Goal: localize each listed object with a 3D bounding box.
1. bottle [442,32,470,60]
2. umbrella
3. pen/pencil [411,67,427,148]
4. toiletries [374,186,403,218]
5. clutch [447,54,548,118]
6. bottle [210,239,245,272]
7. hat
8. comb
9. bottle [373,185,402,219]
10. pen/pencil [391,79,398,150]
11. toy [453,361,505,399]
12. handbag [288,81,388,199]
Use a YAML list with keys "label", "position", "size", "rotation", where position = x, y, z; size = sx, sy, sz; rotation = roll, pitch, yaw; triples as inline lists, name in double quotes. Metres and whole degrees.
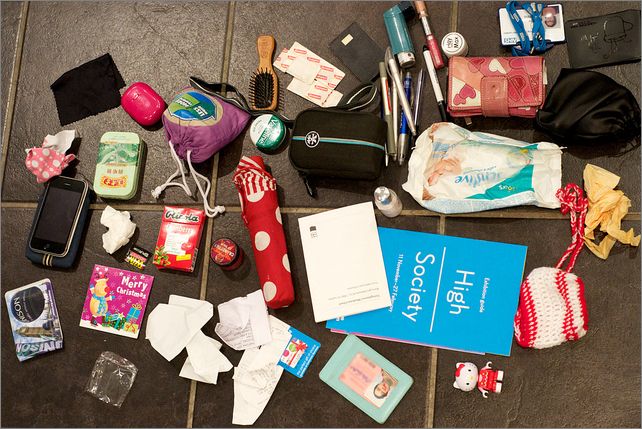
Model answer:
- label: "bottle"
  position: [0.416, -0.529, 1.752]
  size: [0.076, 0.056, 0.075]
  rotation: [2, 99, 14]
- label: "umbrella"
  position: [-0.174, 0.042, 1.754]
  size: [0.123, 0.266, 0.423]
  rotation: [-13, 53, -6]
- label: "pen/pencil"
  position: [0.308, -0.338, 1.784]
  size: [0.030, 0.025, 0.254]
  rotation: [5, 89, -6]
- label: "toiletries"
  position: [0.209, -0.038, 1.731]
  size: [0.050, 0.077, 0.051]
  rotation: [-30, 71, 15]
- label: "clutch"
  position: [0.531, -0.391, 1.719]
  size: [0.278, 0.131, 0.142]
  rotation: [2, 52, 4]
- label: "bottle"
  position: [-0.296, 0.118, 1.791]
  size: [0.093, 0.079, 0.092]
  rotation: [-2, 86, 2]
- label: "hat"
  position: [0.683, 0.274, 1.636]
  size: [0.223, 0.082, 0.219]
  rotation: [-2, 83, 5]
- label: "comb"
  position: [-0.180, -0.446, 1.830]
  size: [0.093, 0.090, 0.246]
  rotation: [0, 86, 3]
- label: "bottle"
  position: [0.206, -0.037, 1.733]
  size: [0.054, 0.083, 0.055]
  rotation: [-4, 78, 18]
- label: "pen/pencil"
  position: [0.232, -0.316, 1.759]
  size: [0.016, 0.016, 0.211]
  rotation: [3, 86, -40]
- label: "toy"
  position: [0.475, 0.488, 1.686]
  size: [0.145, 0.075, 0.090]
  rotation: [7, 53, 9]
- label: "handbag"
  position: [0.053, -0.220, 1.713]
  size: [0.315, 0.119, 0.313]
  rotation: [-3, 79, 7]
